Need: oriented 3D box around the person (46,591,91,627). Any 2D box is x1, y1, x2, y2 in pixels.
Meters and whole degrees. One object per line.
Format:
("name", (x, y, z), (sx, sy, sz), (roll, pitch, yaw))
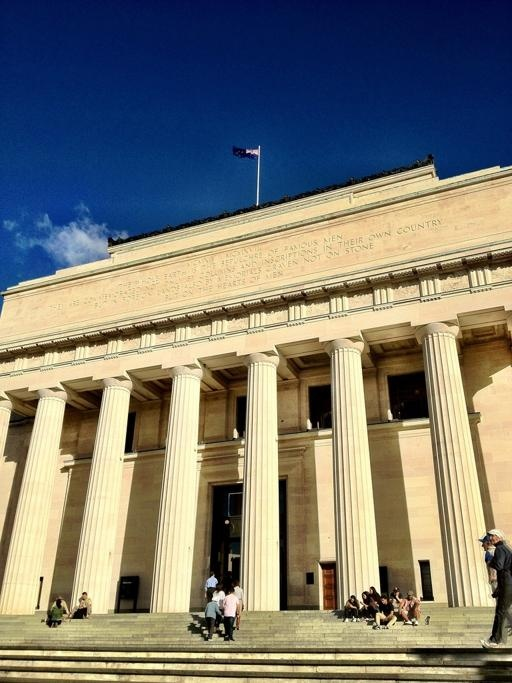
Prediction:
("person", (-6.157, 8.943, 17.349), (1.229, 0.850, 1.614), (-1, -33, -2))
